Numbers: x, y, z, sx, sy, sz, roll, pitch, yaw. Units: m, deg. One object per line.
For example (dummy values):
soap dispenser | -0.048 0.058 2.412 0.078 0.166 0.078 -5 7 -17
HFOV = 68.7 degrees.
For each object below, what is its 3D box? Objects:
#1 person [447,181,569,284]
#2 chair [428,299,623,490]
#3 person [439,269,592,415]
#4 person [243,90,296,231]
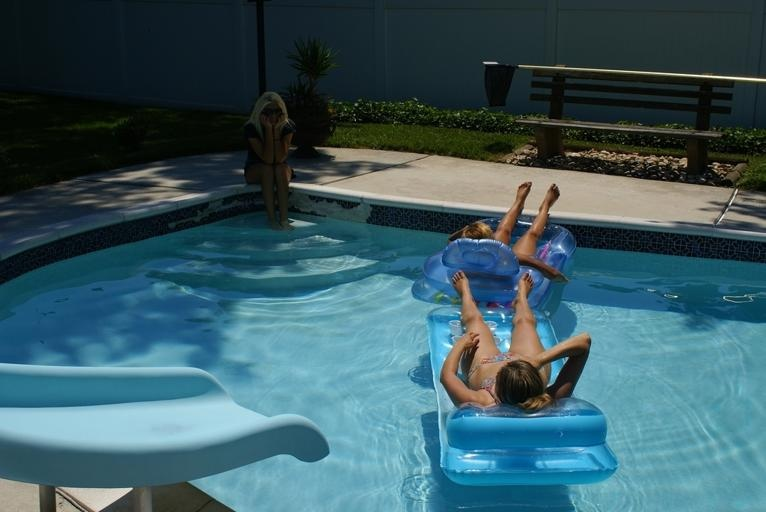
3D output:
person | 1.536 -0.268 6.212 1.275 0.418 1.832 20 39 23
chair | 0.893 1.074 4.165 1.103 0.509 1.888 -1 11 3
person | 0.960 0.727 4.253 1.105 0.446 1.921 0 12 2
person | -1.534 -1.367 7.928 0.620 1.787 1.004 -8 24 -23
